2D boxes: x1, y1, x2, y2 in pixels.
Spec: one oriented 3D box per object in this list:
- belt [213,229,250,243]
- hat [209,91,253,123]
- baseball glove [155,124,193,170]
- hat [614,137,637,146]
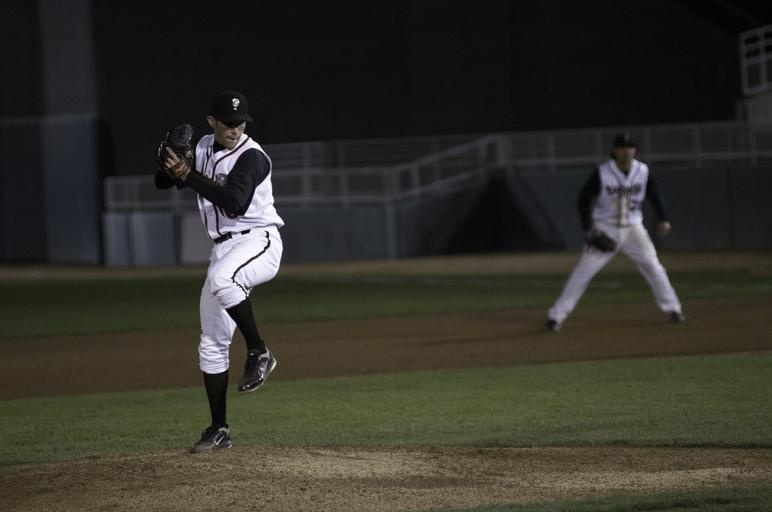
[{"bbox_3d":[-1.821,-0.236,12.230,0.240,0.054,0.212,-19,-1,-13],"label":"belt"},{"bbox_3d":[-1.851,-1.725,12.166,0.336,0.264,0.444,-14,25,-38],"label":"hat"},{"bbox_3d":[-2.429,-1.275,12.172,0.342,0.434,0.533,-2,14,5],"label":"baseball glove"},{"bbox_3d":[3.208,-1.556,14.173,0.279,0.141,0.250,-1,14,8],"label":"hat"}]
